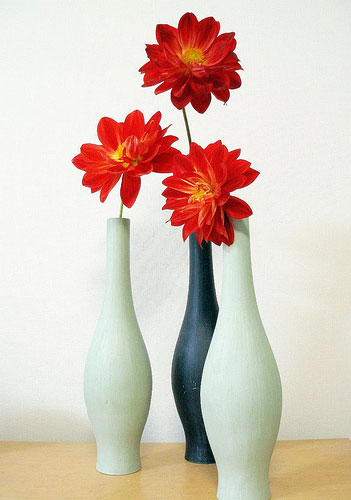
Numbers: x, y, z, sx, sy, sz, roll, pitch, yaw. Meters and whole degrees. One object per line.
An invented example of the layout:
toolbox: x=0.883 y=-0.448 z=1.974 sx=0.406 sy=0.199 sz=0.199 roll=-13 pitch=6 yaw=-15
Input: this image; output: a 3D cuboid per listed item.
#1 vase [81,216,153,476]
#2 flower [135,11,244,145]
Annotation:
vase: x=-0.077 y=0.128 z=0.718 sx=0.070 sy=0.347 sz=0.081 roll=-1 pitch=-1 yaw=45
flower: x=0.032 y=-0.227 z=0.749 sx=0.121 sy=0.136 sz=0.191 roll=3 pitch=-13 yaw=1
